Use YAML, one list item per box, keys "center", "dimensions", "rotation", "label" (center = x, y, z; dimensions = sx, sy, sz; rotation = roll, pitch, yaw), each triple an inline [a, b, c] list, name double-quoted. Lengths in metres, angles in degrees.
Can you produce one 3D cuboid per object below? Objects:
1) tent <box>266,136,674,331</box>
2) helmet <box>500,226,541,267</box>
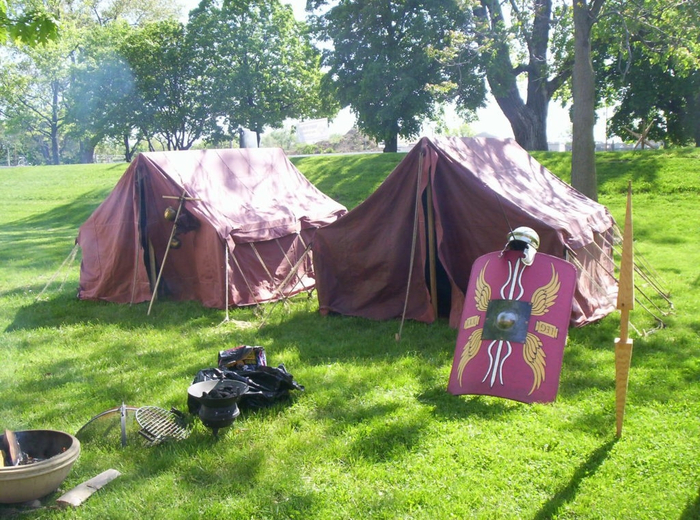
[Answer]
- center: [2.429, -0.466, 14.375]
  dimensions: [4.360, 2.294, 4.503]
  rotation: [3, 2, 36]
  label: "tent"
- center: [2.440, -0.196, 10.545]
  dimensions: [0.488, 0.545, 0.274]
  rotation: [0, 4, 11]
  label: "helmet"
